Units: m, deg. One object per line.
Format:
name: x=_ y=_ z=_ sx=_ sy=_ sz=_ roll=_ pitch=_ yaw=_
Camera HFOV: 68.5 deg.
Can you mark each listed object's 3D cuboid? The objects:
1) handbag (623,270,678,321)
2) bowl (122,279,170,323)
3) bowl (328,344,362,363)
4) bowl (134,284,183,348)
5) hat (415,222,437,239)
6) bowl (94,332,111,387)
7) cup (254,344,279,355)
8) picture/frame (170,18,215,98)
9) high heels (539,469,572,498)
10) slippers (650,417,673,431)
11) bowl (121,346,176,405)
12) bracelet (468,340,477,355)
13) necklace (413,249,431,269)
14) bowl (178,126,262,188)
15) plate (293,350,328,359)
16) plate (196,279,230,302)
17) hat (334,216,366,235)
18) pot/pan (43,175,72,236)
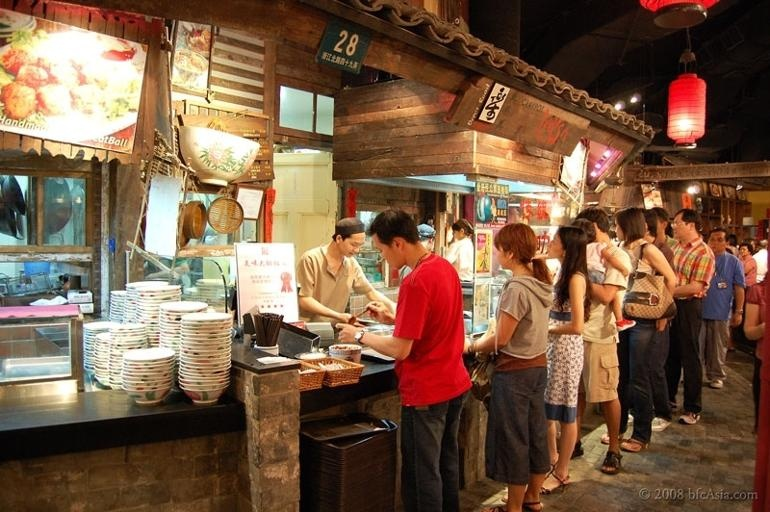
handbag: x=2.877 y=0.408 z=6.199 sx=0.287 sy=0.530 sz=0.544 roll=-20 pitch=13 yaw=-37
bowl: x=-1.924 y=0.371 z=4.645 sx=0.342 sy=0.346 sz=0.366 roll=3 pitch=7 yaw=0
bowl: x=-0.321 y=0.785 z=4.684 sx=0.184 sy=0.121 sz=0.181 roll=2 pitch=-2 yaw=0
bowl: x=-1.812 y=0.444 z=4.532 sx=0.425 sy=0.433 sz=0.433 roll=4 pitch=9 yaw=-1
hat: x=0.533 y=-0.308 z=7.056 sx=0.281 sy=0.162 sz=0.355 roll=-1 pitch=9 yaw=-24
bowl: x=-2.102 y=0.782 z=4.253 sx=0.220 sy=0.403 sz=0.068 roll=7 pitch=10 yaw=35
cup: x=-0.918 y=0.715 z=4.347 sx=0.218 sy=0.066 sz=0.095 roll=3 pitch=8 yaw=12
picture/frame: x=-2.130 y=-2.203 z=6.300 sx=0.161 sy=0.774 sz=0.470 roll=6 pitch=10 yaw=33
high heels: x=1.637 y=2.196 z=5.446 sx=0.324 sy=0.129 sz=0.163 roll=8 pitch=-11 yaw=-31
slippers: x=3.332 y=2.021 z=6.844 sx=0.146 sy=0.142 sz=0.407 roll=-6 pitch=-12 yaw=41
bowl: x=-1.653 y=0.845 z=4.074 sx=0.370 sy=0.308 sz=0.371 roll=2 pitch=5 yaw=0
bracelet: x=0.739 y=0.762 z=4.806 sx=0.032 sy=0.079 sz=0.063 roll=-16 pitch=-31 yaw=14
necklace: x=0.257 y=0.026 z=4.262 sx=0.157 sy=0.094 sz=0.122 roll=-39 pitch=-7 yaw=16
bowl: x=-1.514 y=-0.934 z=5.220 sx=0.534 sy=0.383 sz=0.771 roll=4 pitch=0 yaw=37
plate: x=-0.593 y=0.797 z=4.563 sx=0.243 sy=0.033 sz=0.163 roll=-2 pitch=8 yaw=-23
plate: x=-1.787 y=0.350 z=5.816 sx=0.232 sy=0.236 sz=0.217 roll=7 pitch=10 yaw=35
hat: x=-0.326 y=-0.284 z=5.355 sx=0.203 sy=0.117 sz=0.197 roll=0 pitch=4 yaw=-14
pot/pan: x=-3.504 y=-0.535 z=6.096 sx=0.275 sy=0.611 sz=0.093 roll=-2 pitch=9 yaw=-18
